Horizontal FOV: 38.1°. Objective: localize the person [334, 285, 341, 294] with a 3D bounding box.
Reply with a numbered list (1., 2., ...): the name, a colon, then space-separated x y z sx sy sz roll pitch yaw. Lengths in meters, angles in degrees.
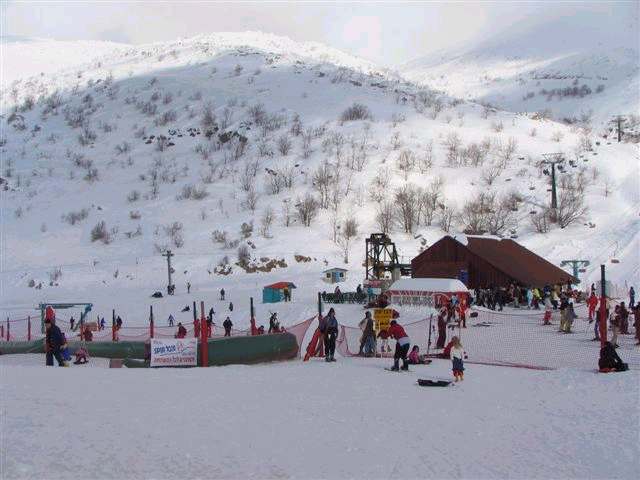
1. person: 2.340 6.519 118.713 0.745 1.323 0.703 3 -37 -13
